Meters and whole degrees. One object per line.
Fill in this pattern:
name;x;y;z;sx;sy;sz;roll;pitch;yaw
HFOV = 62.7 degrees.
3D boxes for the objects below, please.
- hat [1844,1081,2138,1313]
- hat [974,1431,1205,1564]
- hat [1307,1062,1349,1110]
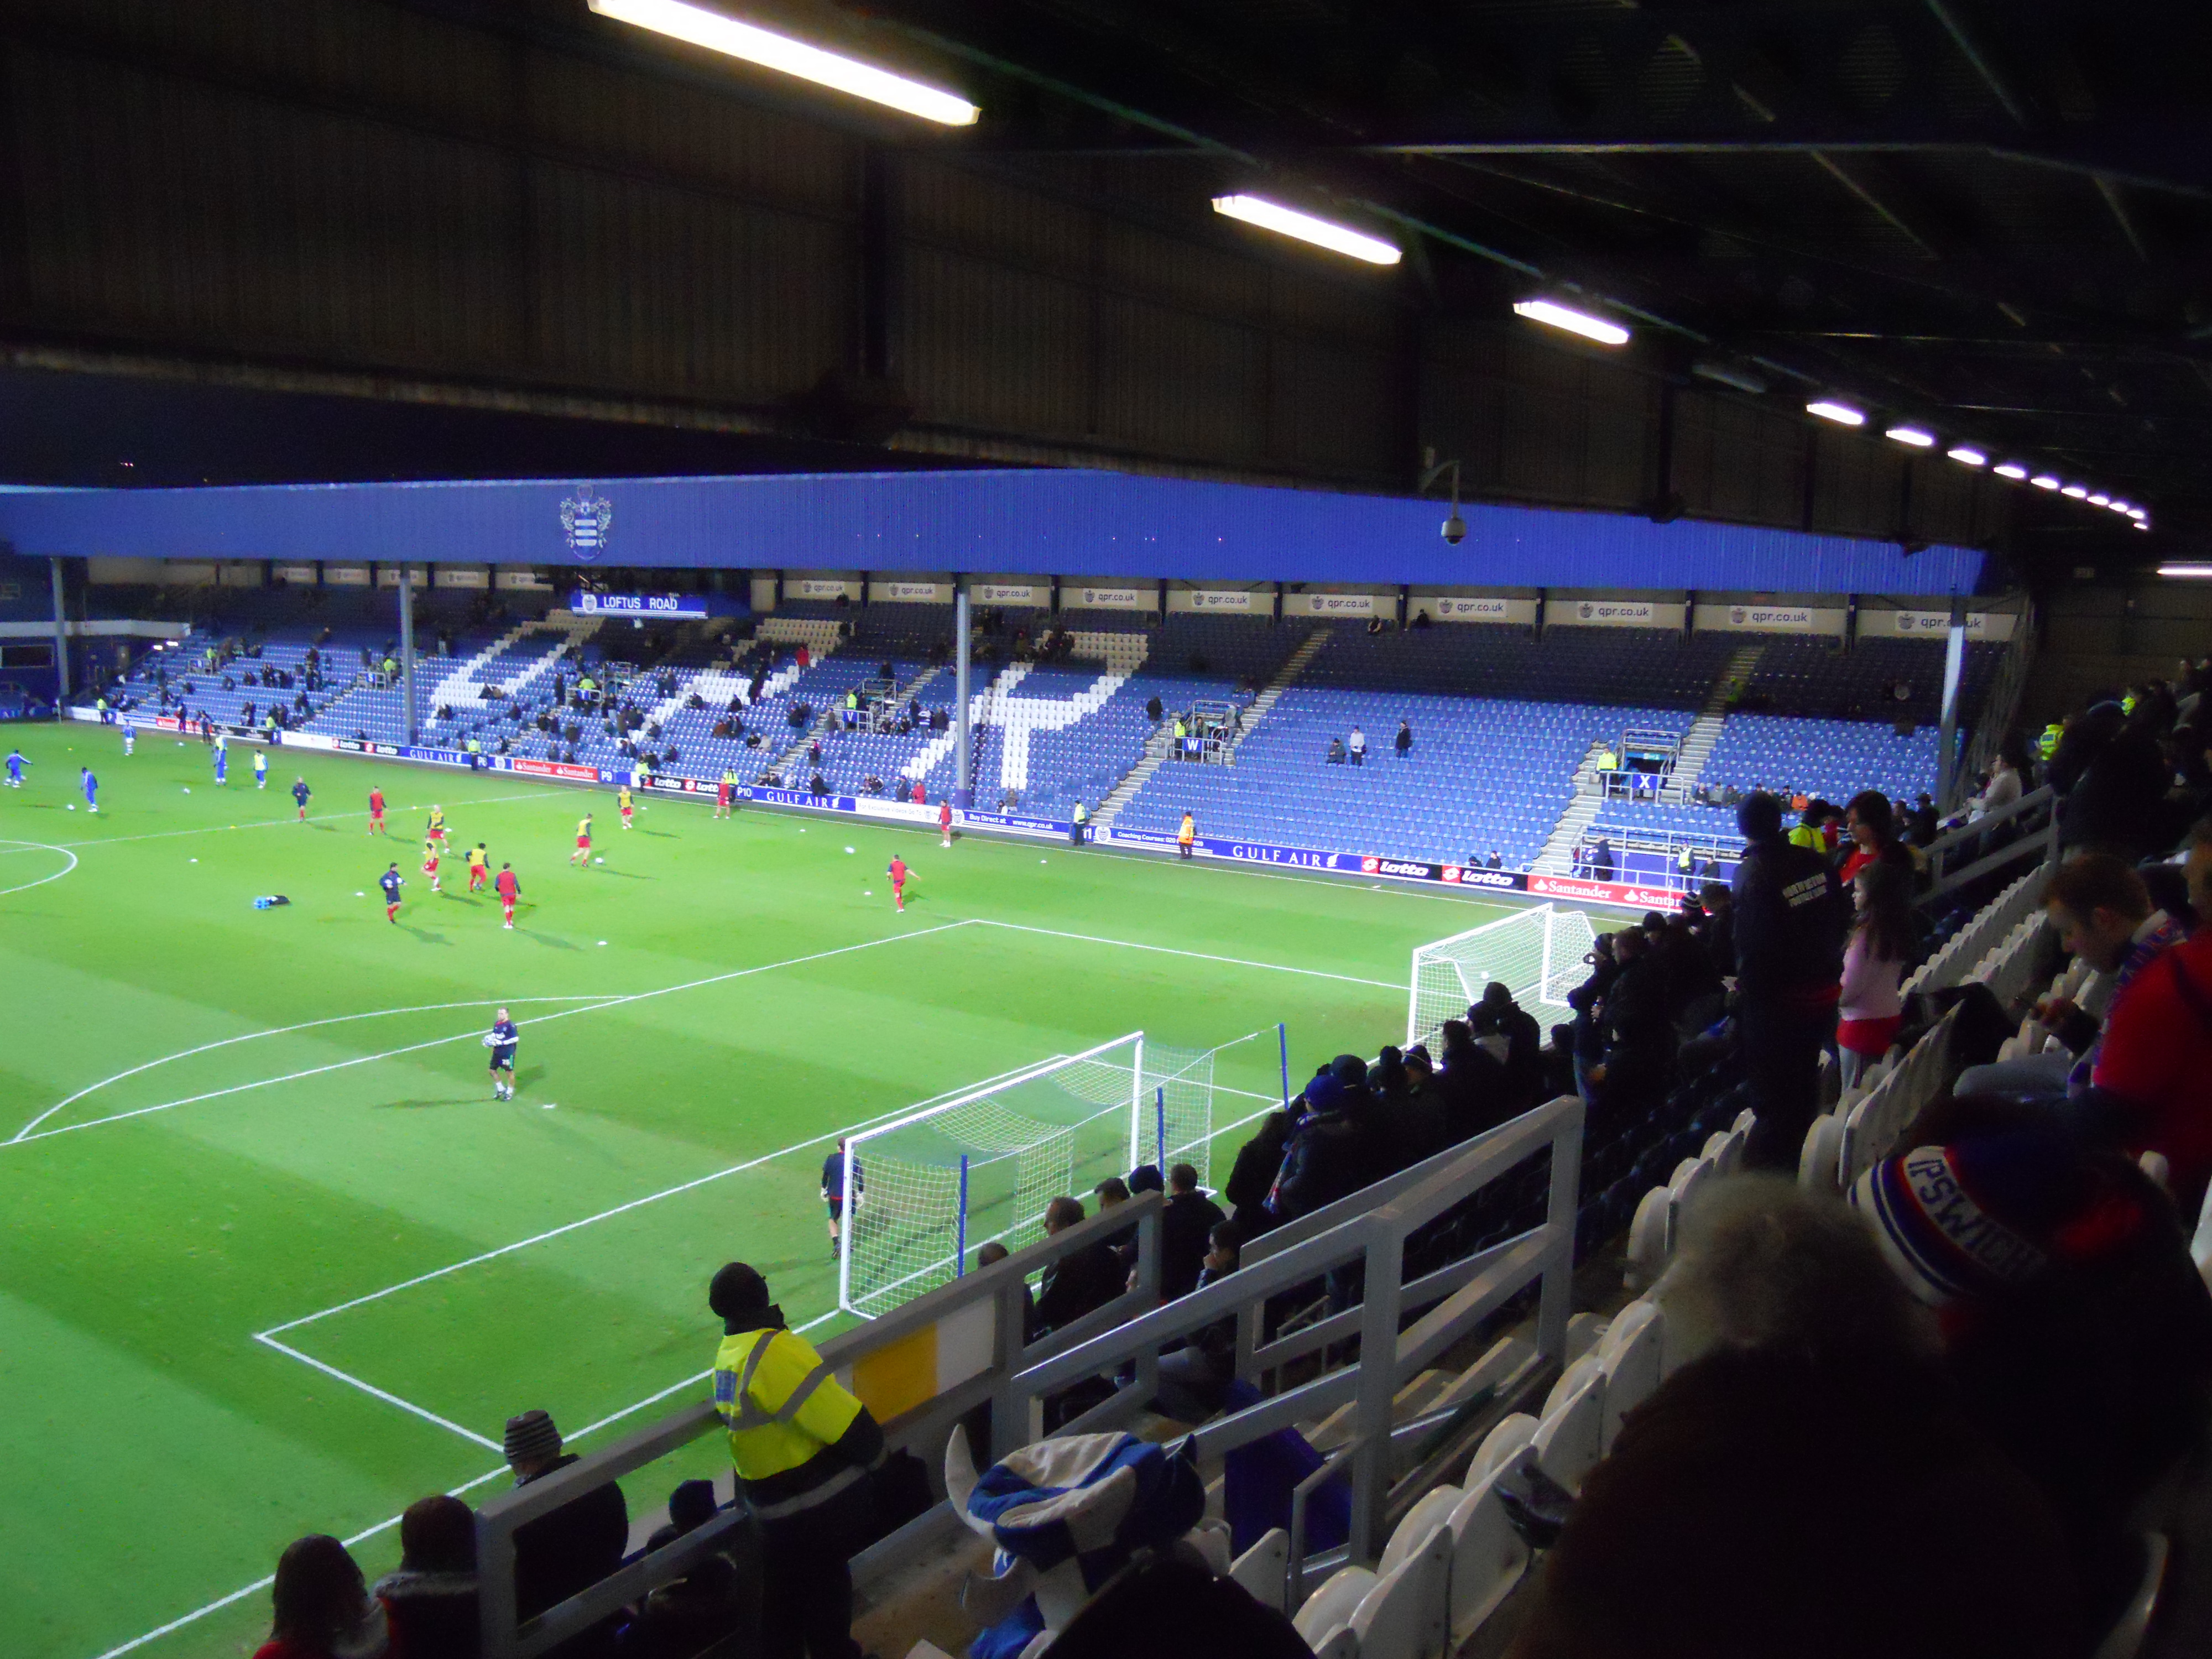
hat;2.334;0.900;4.800;0.622;0.667;0.523;-5;45;3
hat;-0.053;1.675;4.563;0.384;0.147;0.374;-1;2;7
hat;1.239;1.474;10.424;0.196;0.267;0.267;19;-35;-3
